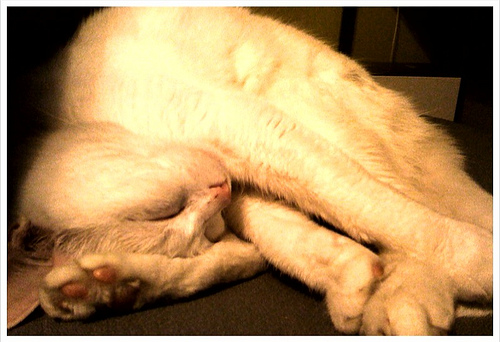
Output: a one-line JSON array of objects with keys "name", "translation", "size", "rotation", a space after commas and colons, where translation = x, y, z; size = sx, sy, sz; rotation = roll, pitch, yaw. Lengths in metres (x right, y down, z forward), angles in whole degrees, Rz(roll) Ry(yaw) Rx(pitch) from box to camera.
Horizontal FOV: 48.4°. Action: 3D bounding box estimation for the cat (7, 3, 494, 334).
[{"name": "cat", "translation": [0.044, 0.009, 1.583], "size": [1.325, 0.681, 0.838], "rotation": [10, 34, 8]}]
